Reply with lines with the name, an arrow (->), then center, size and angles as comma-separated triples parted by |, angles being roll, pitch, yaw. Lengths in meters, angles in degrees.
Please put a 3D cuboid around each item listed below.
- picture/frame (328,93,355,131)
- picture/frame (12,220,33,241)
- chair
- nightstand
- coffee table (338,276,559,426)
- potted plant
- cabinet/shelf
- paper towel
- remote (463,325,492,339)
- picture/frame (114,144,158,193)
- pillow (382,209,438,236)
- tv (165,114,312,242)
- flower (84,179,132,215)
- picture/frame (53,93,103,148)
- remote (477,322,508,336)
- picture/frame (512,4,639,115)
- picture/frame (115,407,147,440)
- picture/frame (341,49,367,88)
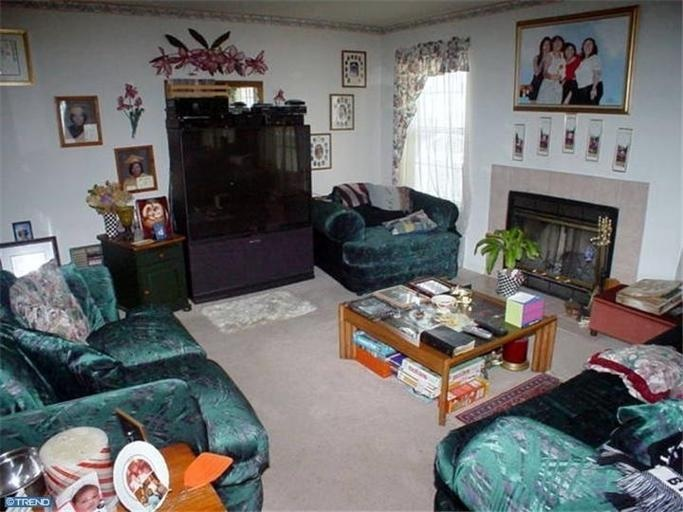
picture/frame -> -0.019, -1.924, 6.331 | 0.453, 0.494, 0.032 | -10, 15, -37
picture/frame -> -3.114, -0.241, 4.638 | 0.025, 0.153, 0.196 | -4, 16, 31
chair -> 0.322, -0.447, 5.428 | 1.337, 0.868, 1.243 | -9, 16, -30
nightstand -> -1.813, 0.174, 4.346 | 0.648, 0.829, 0.534 | 11, 21, 34
coffee table -> 0.914, 0.556, 3.620 | 1.087, 0.477, 1.070 | -14, 23, -36
potted plant -> 1.707, 0.061, 4.825 | 0.560, 0.686, 0.631 | -2, 12, -10
cabinet/shelf -> -1.106, -0.507, 4.924 | 1.540, 2.090, 0.750 | -10, 20, -30
paper towel -> -1.054, 0.779, 1.941 | 0.249, 0.244, 0.252 | -4, 10, -24
remote -> 0.966, 0.546, 3.390 | 0.102, 0.029, 0.104 | 15, 16, 35
picture/frame -> -2.218, -0.942, 5.094 | 0.537, 0.678, 0.051 | -8, 15, -27
pillow -> 0.802, -0.368, 5.471 | 0.433, 0.153, 0.291 | -17, 28, -7
tv -> -1.097, -0.813, 4.876 | 1.155, 1.000, 0.417 | -9, 16, -30
flower -> -2.200, -0.553, 4.577 | 0.407, 0.313, 0.221 | -1, 16, 3
picture/frame -> -2.655, -1.361, 4.766 | 0.479, 0.600, 0.039 | -11, 17, -36
remote -> 1.086, 0.519, 3.442 | 0.088, 0.043, 0.152 | -10, 26, -36
picture/frame -> 2.234, -1.851, 4.478 | 0.043, 0.934, 1.151 | -15, 19, -36
picture/frame -> -0.934, 0.741, 2.099 | 0.165, 0.173, 0.021 | 11, 35, 44
picture/frame -> 0.142, -2.480, 6.297 | 0.467, 0.495, 0.032 | -9, 15, -35
